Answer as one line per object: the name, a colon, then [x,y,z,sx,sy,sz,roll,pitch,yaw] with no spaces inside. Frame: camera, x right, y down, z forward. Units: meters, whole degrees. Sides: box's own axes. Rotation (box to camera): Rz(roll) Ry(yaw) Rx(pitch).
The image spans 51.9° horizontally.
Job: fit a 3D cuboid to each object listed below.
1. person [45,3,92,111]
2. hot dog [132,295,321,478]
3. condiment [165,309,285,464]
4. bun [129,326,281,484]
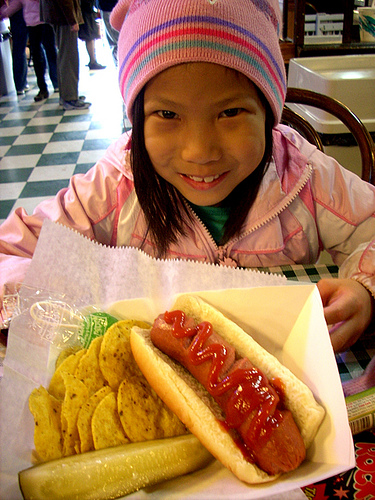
person: [-1.698,-2.715,5.416,0.464,0.456,1.714,-15,-22,-21]
hot dog: [0.060,0.218,0.730,0.184,0.190,0.390,-17,23,-40]
condiment: [0.044,0.207,0.713,0.319,0.095,0.086,50,11,18]
bun: [0.021,0.260,0.700,0.267,0.052,0.154,52,12,24]
